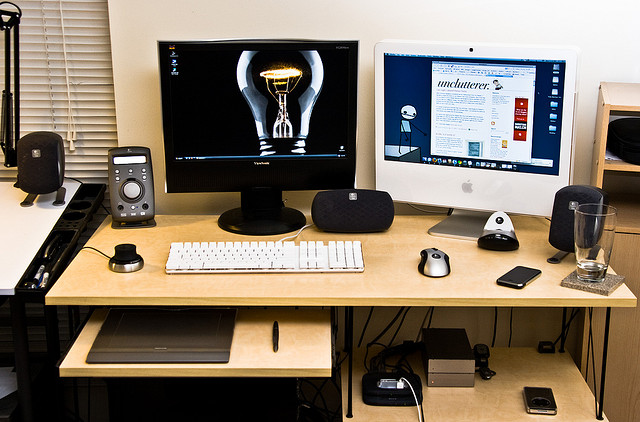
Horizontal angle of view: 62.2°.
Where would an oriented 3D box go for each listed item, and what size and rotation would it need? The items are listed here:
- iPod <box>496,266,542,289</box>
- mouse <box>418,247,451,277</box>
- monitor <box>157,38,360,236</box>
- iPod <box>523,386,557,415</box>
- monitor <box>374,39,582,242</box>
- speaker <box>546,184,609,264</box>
[{"bbox_3d":[0.689,0.230,1.843,0.162,0.036,0.081,-14,22,-41],"label":"iPod"},{"bbox_3d":[0.418,0.177,1.930,0.117,0.058,0.183,3,19,7],"label":"mouse"},{"bbox_3d":[-0.237,-0.324,2.156,0.841,0.758,0.343,0,13,-3],"label":"monitor"},{"bbox_3d":[0.814,0.705,1.981,0.104,0.047,0.112,3,16,8],"label":"iPod"},{"bbox_3d":[0.612,-0.288,2.076,0.798,0.684,0.298,3,17,10],"label":"monitor"},{"bbox_3d":[0.974,0.034,1.977,0.211,0.261,0.174,-12,11,-36],"label":"speaker"}]
